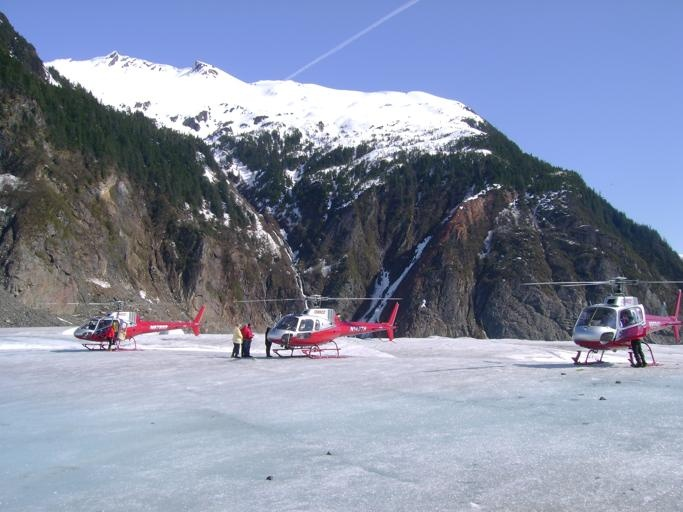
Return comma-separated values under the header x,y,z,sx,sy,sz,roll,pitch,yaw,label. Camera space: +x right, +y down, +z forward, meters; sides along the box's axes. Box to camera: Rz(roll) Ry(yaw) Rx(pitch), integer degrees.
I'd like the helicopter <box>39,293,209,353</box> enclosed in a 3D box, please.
x,y,z,sx,sy,sz,roll,pitch,yaw,label
-11.322,4.334,34.900,7.531,2.215,6.357,12,-14,-42,helicopter

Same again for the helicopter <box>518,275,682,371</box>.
x,y,z,sx,sy,sz,roll,pitch,yaw,label
13.718,2.933,30.198,4.184,4.774,11.930,-2,-9,21,helicopter
